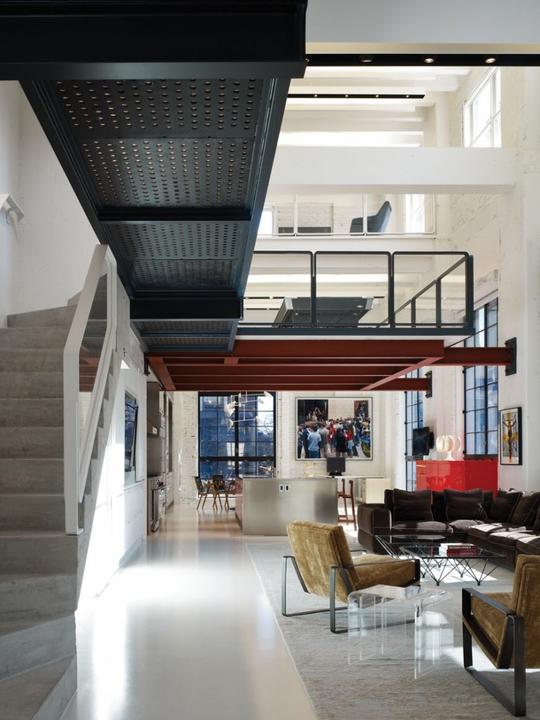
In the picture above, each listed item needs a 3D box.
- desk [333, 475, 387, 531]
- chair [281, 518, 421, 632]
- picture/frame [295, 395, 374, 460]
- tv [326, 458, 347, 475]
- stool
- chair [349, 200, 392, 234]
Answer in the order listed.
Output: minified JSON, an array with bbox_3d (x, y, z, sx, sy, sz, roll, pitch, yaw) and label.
[{"bbox_3d":[2.557,4.188,15.919,1.048,1.438,2.131,-18,-31,14],"label":"desk"},{"bbox_3d":[0.658,1.766,4.772,0.843,0.981,0.770,1,-5,-31],"label":"chair"},{"bbox_3d":[1.992,2.029,16.621,1.489,1.386,0.058,-1,-11,3],"label":"picture/frame"},{"bbox_3d":[1.438,2.347,12.467,0.374,0.426,0.568,-2,-7,1],"label":"tv"},{"bbox_3d":[0.843,1.774,3.764,0.483,0.477,0.538,1,-8,-1],"label":"stool"},{"bbox_3d":[2.177,-2.963,12.256,0.678,0.843,0.773,0,3,0],"label":"chair"}]
